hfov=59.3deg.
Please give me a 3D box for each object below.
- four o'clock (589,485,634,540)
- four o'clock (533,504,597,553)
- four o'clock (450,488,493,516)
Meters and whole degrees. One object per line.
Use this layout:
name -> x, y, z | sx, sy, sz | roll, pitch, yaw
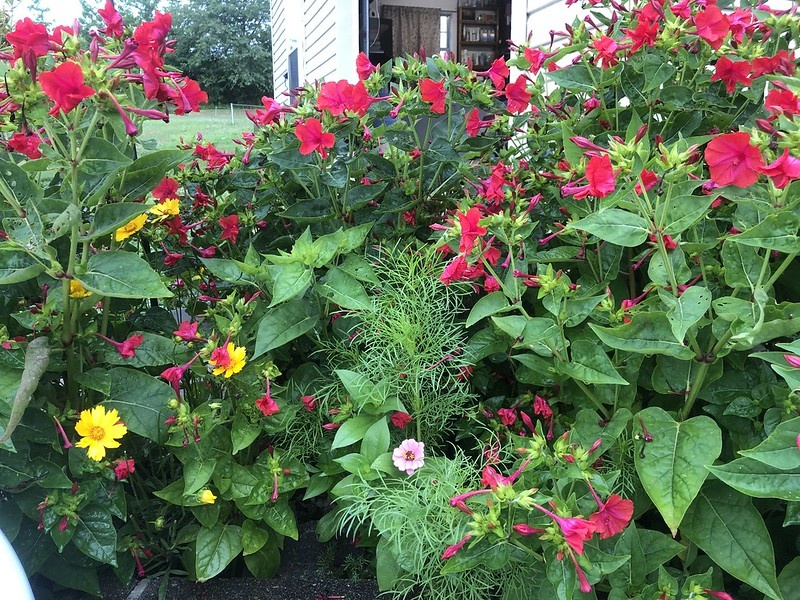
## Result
four o'clock -> 0.462, 0.490, 1.584 | 0.113, 0.120, 0.063 | -5, 14, -22
four o'clock -> 0.362, 0.484, 1.566 | 0.081, 0.062, 0.141 | -46, 17, -9
four o'clock -> 0.166, 0.470, 1.638 | 0.096, 0.082, 0.062 | 3, 14, 10
